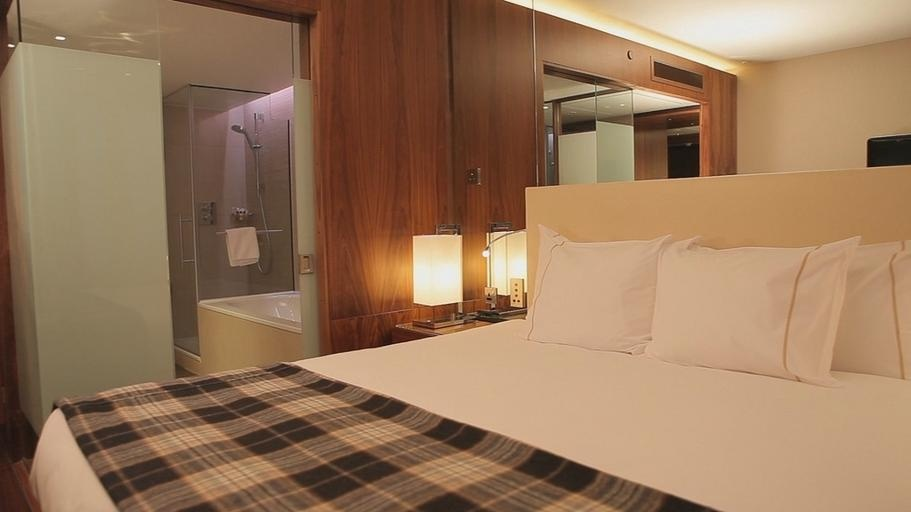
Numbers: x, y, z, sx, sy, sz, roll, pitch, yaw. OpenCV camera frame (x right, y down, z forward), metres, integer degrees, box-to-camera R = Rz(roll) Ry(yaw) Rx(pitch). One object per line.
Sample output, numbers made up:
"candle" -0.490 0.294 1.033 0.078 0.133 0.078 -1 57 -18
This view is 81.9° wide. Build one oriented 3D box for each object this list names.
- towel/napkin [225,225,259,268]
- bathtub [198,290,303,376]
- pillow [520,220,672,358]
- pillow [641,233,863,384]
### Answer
"towel/napkin" -1.708 -0.091 4.157 0.337 0.371 0.087 -7 4 -24
"bathtub" -1.637 0.615 4.223 0.628 0.479 1.152 -7 8 -44
"pillow" 0.866 0.206 3.381 0.962 0.746 0.382 3 2 45
"pillow" 1.597 0.266 2.950 0.423 0.746 1.042 -9 10 -33
